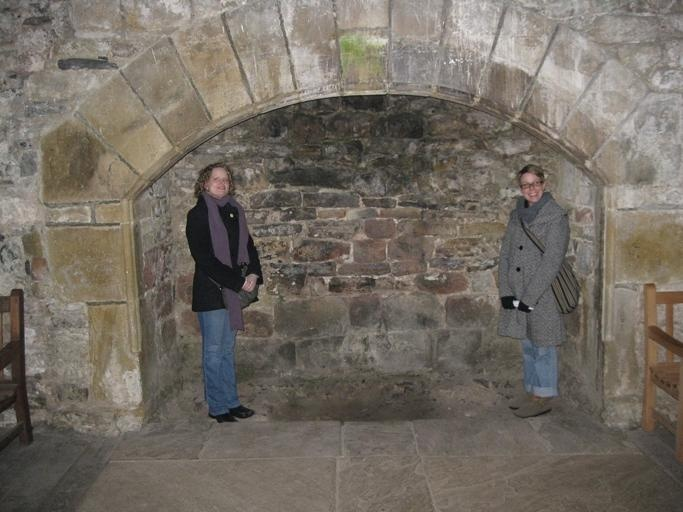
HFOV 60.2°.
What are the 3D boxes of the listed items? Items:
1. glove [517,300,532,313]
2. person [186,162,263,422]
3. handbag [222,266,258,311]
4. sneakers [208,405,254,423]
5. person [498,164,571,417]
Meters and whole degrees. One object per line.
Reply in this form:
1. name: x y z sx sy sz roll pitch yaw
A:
1. glove: 1.151 0.321 3.718 0.024 0.075 0.071 -29 21 -30
2. person: -0.743 0.235 3.771 0.457 1.676 0.341 -1 -1 -9
3. handbag: -0.619 0.225 3.837 0.187 0.271 0.088 -6 17 -21
4. sneakers: -0.720 1.037 3.856 0.289 0.123 0.106 -6 12 -23
5. person: 1.234 0.225 3.858 0.341 1.161 0.502 -1 -1 -11
